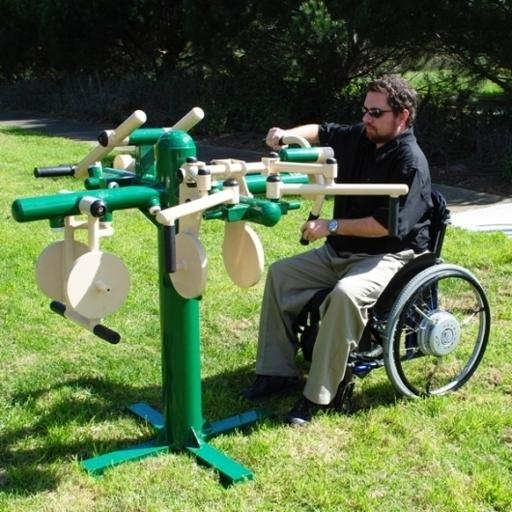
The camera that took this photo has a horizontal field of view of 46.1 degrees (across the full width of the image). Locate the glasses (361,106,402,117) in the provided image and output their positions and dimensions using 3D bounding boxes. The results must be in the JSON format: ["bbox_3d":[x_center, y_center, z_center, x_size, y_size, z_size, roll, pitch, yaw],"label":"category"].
[{"bbox_3d":[0.596,-0.735,3.082,0.094,0.063,0.199,-5,14,-26],"label":"glasses"}]

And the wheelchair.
[{"bbox_3d":[0.730,0.151,3.275,0.867,1.065,0.767,-8,20,-19],"label":"wheelchair"}]

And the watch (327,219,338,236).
[{"bbox_3d":[0.367,-0.141,2.913,0.045,0.074,0.067,7,-13,1],"label":"watch"}]

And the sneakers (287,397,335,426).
[{"bbox_3d":[0.265,0.756,2.953,0.223,0.097,0.080,1,1,-37],"label":"sneakers"}]

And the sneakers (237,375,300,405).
[{"bbox_3d":[0.065,0.691,3.181,0.325,0.143,0.109,0,4,-21],"label":"sneakers"}]
